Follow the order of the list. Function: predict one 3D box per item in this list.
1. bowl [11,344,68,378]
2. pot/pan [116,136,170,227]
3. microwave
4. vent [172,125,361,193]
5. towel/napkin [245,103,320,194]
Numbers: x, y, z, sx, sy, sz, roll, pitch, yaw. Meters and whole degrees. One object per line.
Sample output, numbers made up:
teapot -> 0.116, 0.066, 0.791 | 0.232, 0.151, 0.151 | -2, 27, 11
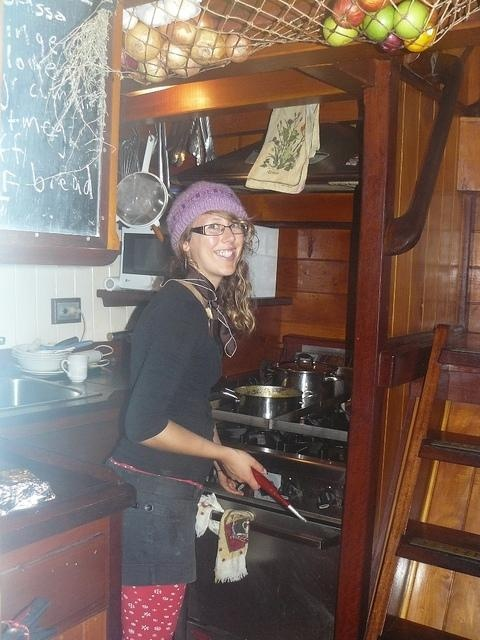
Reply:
bowl -> -0.826, 0.168, 2.237 | 0.227, 0.110, 0.235 | 9, 12, -2
pot/pan -> -0.442, -0.547, 2.352 | 0.260, 0.535, 0.297 | -9, 17, -38
microwave -> -0.224, -0.380, 2.878 | 0.945, 0.389, 0.810 | 11, 12, 40
vent -> 0.317, -0.801, 2.742 | 1.183, 0.354, 0.813 | 6, 15, 22
towel/napkin -> 0.200, -0.761, 2.263 | 0.122, 0.401, 0.315 | 0, 7, -45
